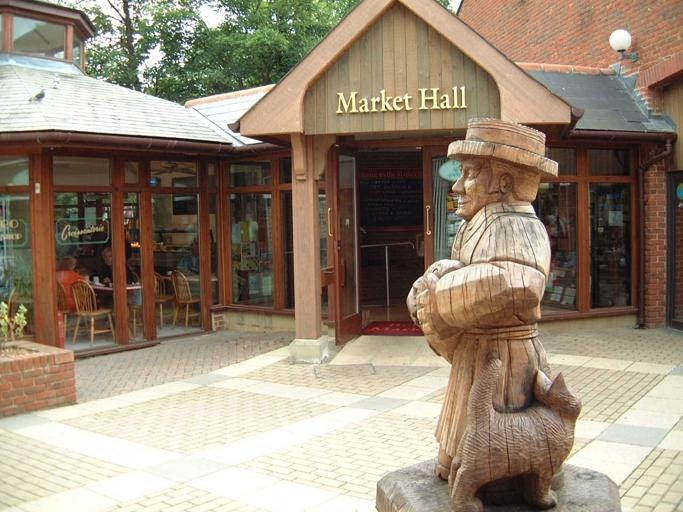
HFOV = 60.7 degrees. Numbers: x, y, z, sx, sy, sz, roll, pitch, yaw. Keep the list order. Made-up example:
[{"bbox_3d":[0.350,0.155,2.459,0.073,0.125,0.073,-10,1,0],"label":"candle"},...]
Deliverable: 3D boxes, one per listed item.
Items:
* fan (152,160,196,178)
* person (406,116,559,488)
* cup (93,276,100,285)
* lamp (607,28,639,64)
[{"bbox_3d":[-3.408,-1.787,11.960,0.082,0.329,1.024,1,6,42],"label":"fan"},{"bbox_3d":[0.863,0.298,3.608,0.918,2.280,0.646,-2,4,12],"label":"person"},{"bbox_3d":[-4.544,0.471,10.868,0.138,0.141,0.132,1,4,0],"label":"cup"},{"bbox_3d":[5.744,-4.292,11.879,0.501,0.692,0.884,0,5,29],"label":"lamp"}]
